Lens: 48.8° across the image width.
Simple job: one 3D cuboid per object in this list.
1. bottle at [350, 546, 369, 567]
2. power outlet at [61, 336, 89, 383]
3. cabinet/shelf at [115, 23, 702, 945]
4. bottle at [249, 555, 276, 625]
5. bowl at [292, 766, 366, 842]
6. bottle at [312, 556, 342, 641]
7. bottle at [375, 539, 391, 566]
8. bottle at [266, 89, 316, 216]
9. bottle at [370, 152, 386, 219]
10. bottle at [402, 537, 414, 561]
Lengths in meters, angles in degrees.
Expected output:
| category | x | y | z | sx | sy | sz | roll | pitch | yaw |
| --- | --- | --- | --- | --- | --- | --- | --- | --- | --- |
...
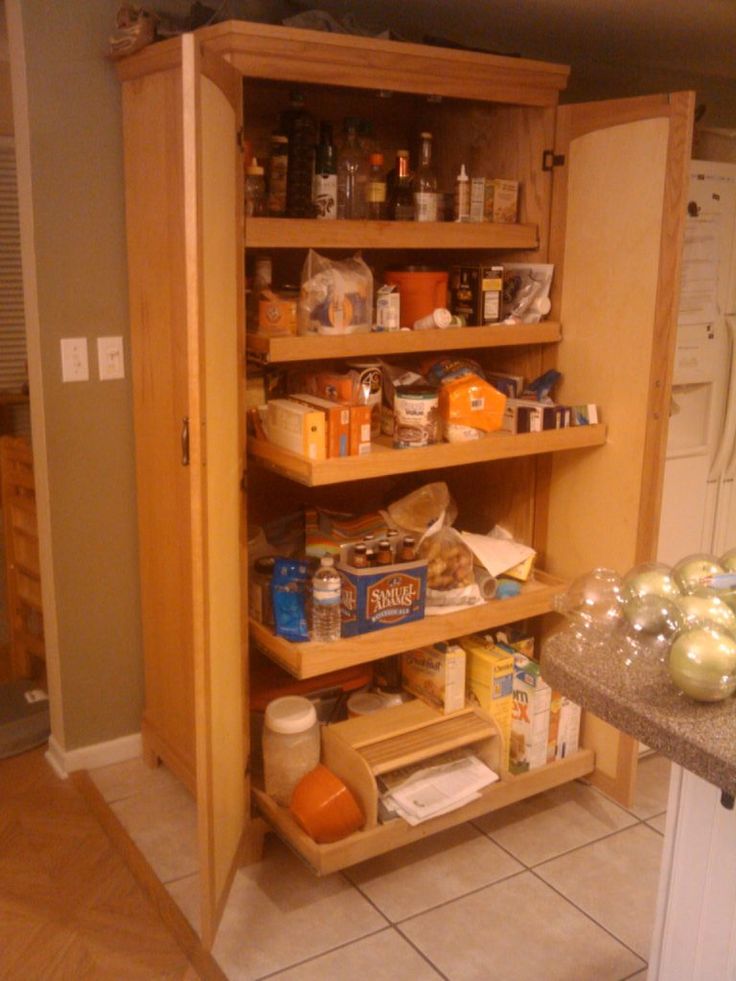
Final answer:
| category | x | y | z | sx | sy | sz | roll | pitch | yaw |
| --- | --- | --- | --- | --- | --- | --- | --- | --- | --- |
| bottle | -0.024 | 0.146 | 1.866 | 0.037 | 0.052 | 0.087 | 1 | 11 | -4 |
| power outlet | -0.745 | -0.333 | 2.058 | 0.070 | 0.111 | 0.011 | -8 | 13 | -40 |
| cabinet/shelf | 0.025 | -0.144 | 1.994 | 1.272 | 1.872 | 0.731 | -9 | 16 | -35 |
| bottle | -0.249 | 0.238 | 1.902 | 0.054 | 0.133 | 0.132 | 0 | 11 | -8 |
| bowl | -0.094 | 0.702 | 1.852 | 0.103 | 0.146 | 0.116 | -28 | 3 | -16 |
| bottle | -0.096 | 0.237 | 1.842 | 0.071 | 0.186 | 0.128 | 0 | 10 | -4 |
| bottle | 0.039 | 0.142 | 1.879 | 0.042 | 0.060 | 0.046 | -2 | 11 | -19 |
| bottle | -0.172 | -0.755 | 1.815 | 0.106 | 0.286 | 0.116 | 1 | 10 | 0 |
| bottle | 0.017 | -0.707 | 1.880 | 0.036 | 0.136 | 0.064 | 1 | 10 | -2 |
| bottle | 0.087 | 0.137 | 1.928 | 0.034 | 0.059 | 0.038 | 5 | 11 | 19 |
